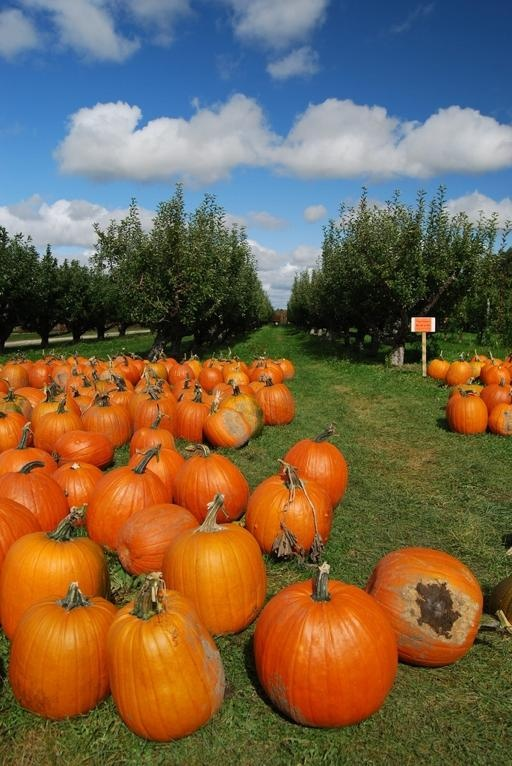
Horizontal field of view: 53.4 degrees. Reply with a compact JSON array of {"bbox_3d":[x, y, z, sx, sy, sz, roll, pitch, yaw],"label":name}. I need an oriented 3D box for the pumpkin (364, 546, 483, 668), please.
[{"bbox_3d":[0.836,1.305,2.853,0.445,0.493,0.448,12,14,-15],"label":"pumpkin"}]

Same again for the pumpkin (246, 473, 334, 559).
[{"bbox_3d":[0.246,0.993,3.939,0.700,0.878,0.698,4,-4,-3],"label":"pumpkin"}]

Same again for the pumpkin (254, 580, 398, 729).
[{"bbox_3d":[0.403,1.223,2.611,0.639,0.692,0.652,-1,0,17],"label":"pumpkin"}]

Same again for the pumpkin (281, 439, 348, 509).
[{"bbox_3d":[0.583,0.852,4.655,0.510,0.618,0.504,-4,-10,-2],"label":"pumpkin"}]
